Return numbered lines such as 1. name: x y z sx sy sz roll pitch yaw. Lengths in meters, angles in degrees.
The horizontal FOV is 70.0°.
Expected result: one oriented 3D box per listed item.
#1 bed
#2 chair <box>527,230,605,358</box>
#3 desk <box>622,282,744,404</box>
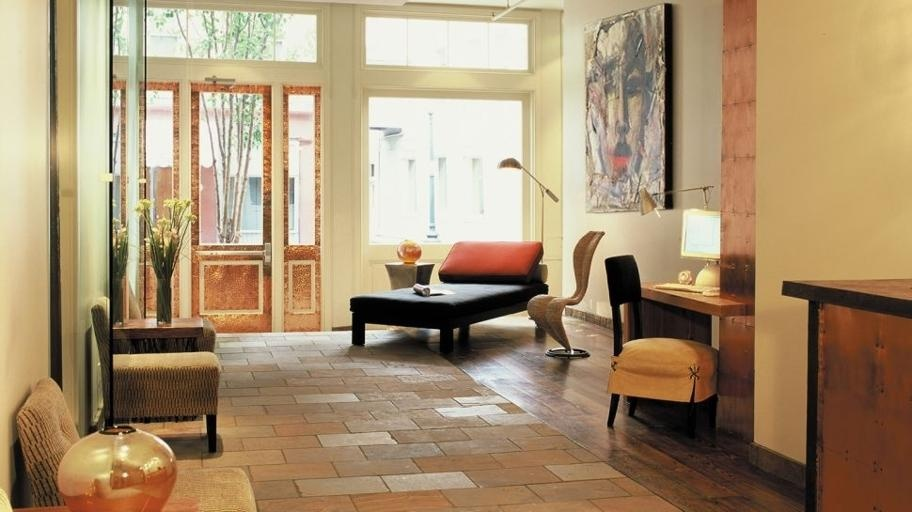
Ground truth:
1. bed: 0.087 0.421 8.035 1.385 0.808 2.195 1 3 33
2. chair: 1.173 0.383 7.105 0.758 1.313 0.748 3 9 18
3. desk: 1.696 0.678 5.005 0.698 0.672 1.228 -2 -3 -41
